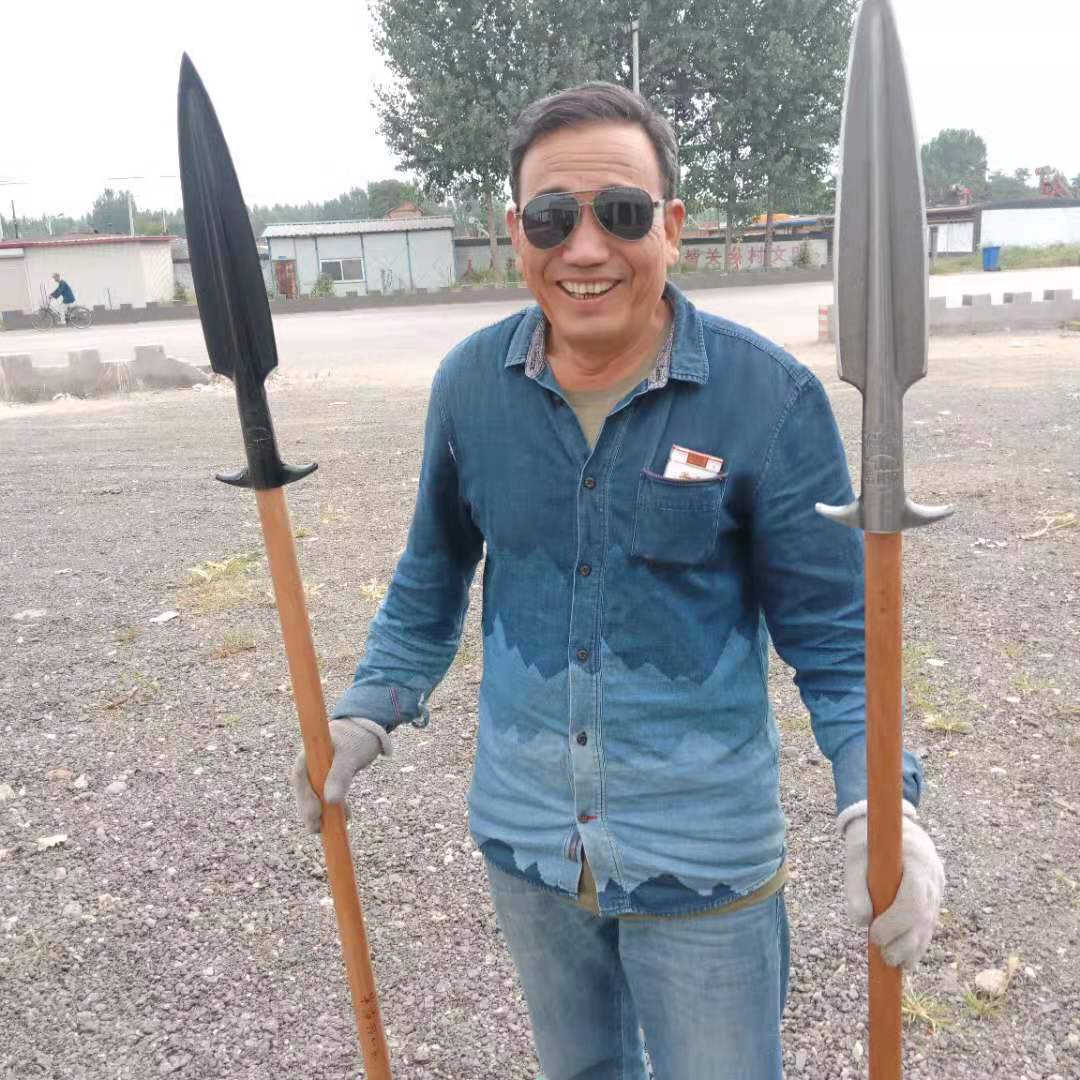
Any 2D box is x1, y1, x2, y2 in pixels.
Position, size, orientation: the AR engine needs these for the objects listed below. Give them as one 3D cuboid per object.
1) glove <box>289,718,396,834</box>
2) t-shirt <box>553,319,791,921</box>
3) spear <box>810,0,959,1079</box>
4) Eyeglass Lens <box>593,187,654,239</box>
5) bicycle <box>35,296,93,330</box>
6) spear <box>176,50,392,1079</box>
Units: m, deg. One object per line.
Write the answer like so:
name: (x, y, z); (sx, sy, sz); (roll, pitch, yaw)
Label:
glove: (-0.348, 0.371, 1.804); (0.138, 0.223, 0.190); (29, -16, -12)
t-shirt: (0.181, 0.094, 1.672); (0.589, 0.932, 0.388); (-7, 13, -6)
spear: (0.476, 0.087, 1.379); (0.157, 1.538, 0.236); (1, 13, 23)
Eyeglass Lens: (0.137, -0.524, 1.612); (0.111, 0.085, 0.054); (-8, 13, -5)
bicycle: (-13.786, -6.470, 28.908); (1.280, 0.748, 2.798); (-12, 16, -19)
spear: (-0.410, 0.177, 1.638); (0.156, 1.821, 0.313); (-8, 13, -15)
